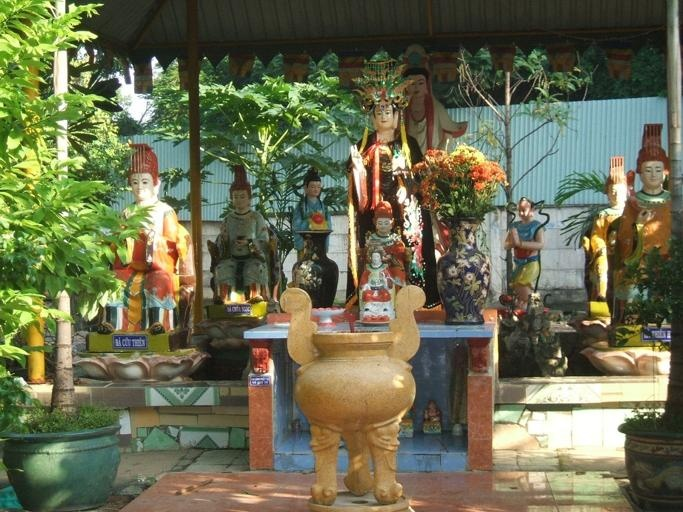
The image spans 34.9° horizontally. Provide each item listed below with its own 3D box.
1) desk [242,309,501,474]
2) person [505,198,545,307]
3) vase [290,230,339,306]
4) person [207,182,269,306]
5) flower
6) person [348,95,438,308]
[{"bbox_3d":[0.284,1.323,9.665,2.500,1.577,1.277,-1,-3,4],"label":"desk"},{"bbox_3d":[1.785,-0.019,10.616,0.360,1.088,0.803,0,-2,8],"label":"person"},{"bbox_3d":[-0.240,0.112,9.926,0.399,0.702,0.337,0,-2,-2],"label":"vase"},{"bbox_3d":[-1.077,-0.120,11.393,0.643,1.218,0.412,0,-2,3],"label":"person"},{"bbox_3d":[1.029,-0.645,9.608,0.723,0.739,0.741,8,4,-8],"label":"flower"},{"bbox_3d":[0.418,-0.534,10.290,0.806,1.824,0.561,-2,24,-5],"label":"person"}]
